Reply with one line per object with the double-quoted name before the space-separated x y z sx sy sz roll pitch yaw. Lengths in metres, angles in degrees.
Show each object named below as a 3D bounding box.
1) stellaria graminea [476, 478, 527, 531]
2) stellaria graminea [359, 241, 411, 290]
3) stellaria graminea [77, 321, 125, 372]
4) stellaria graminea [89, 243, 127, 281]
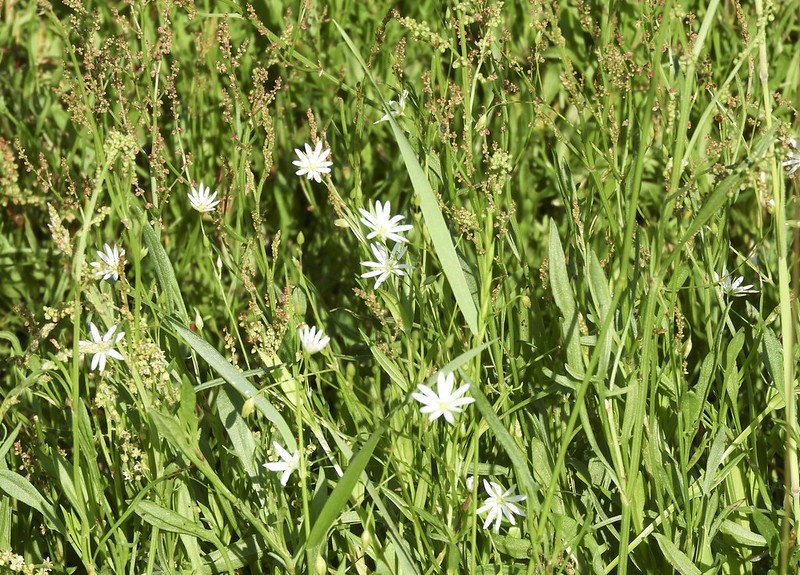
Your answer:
"stellaria graminea" 0.198 0.427 1.940 0.058 0.183 0.066 -5 14 -26
"stellaria graminea" -0.027 -0.049 1.977 0.084 0.108 0.025 28 1 21
"stellaria graminea" -0.597 0.099 1.909 0.095 0.095 0.046 45 0 33
"stellaria graminea" -0.578 -0.049 1.911 0.075 0.112 0.044 -2 1 33
